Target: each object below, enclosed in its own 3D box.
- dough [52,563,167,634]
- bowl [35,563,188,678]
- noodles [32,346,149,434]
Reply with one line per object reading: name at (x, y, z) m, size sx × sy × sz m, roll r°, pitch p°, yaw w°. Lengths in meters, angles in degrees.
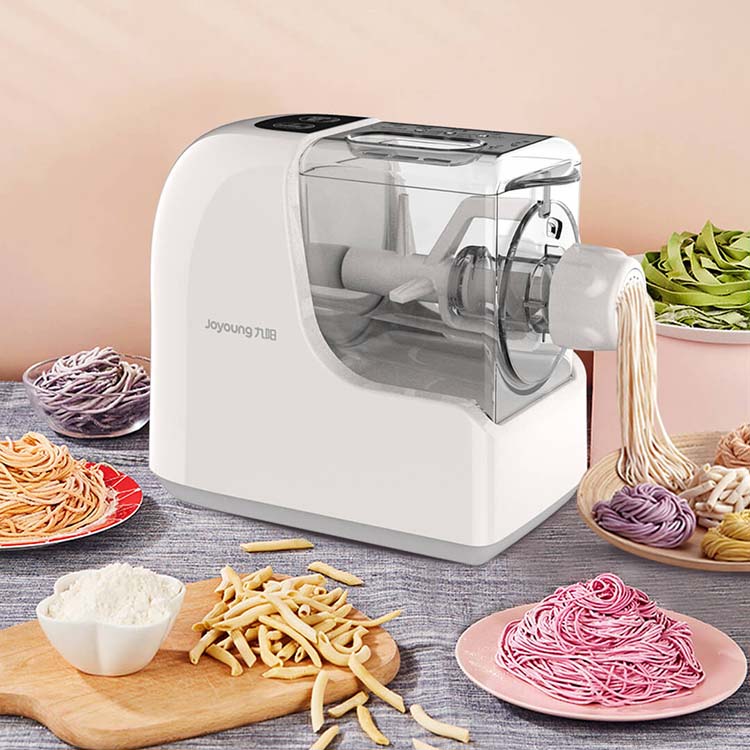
dough at (-0.179, 0.154, 0.570) m, size 0.065 × 0.025 × 0.056 m, roll -12°, pitch 22°, yaw -39°
bowl at (-0.179, 0.167, 0.595) m, size 0.095 × 0.067 × 0.102 m, roll -2°, pitch 12°, yaw 0°
noodles at (-0.358, 0.023, 1.065) m, size 0.130 × 0.074 × 0.092 m, roll 13°, pitch 36°, yaw 33°
